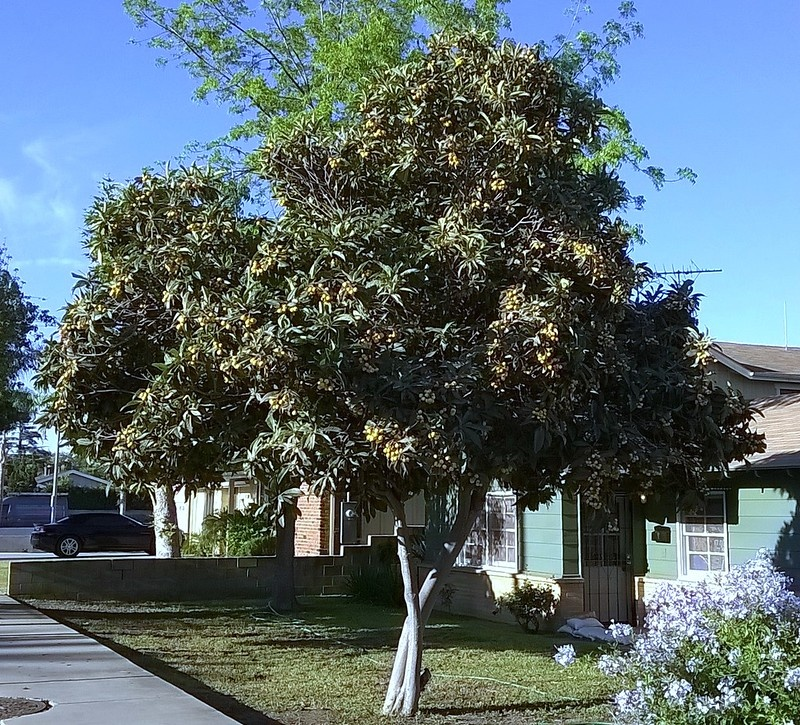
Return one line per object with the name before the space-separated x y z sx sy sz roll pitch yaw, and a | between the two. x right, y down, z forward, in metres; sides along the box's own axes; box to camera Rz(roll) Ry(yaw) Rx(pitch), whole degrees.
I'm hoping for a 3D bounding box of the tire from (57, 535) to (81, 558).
tire | -11.895 6.558 27.344 0.676 0.738 0.242 15 -7 -31
